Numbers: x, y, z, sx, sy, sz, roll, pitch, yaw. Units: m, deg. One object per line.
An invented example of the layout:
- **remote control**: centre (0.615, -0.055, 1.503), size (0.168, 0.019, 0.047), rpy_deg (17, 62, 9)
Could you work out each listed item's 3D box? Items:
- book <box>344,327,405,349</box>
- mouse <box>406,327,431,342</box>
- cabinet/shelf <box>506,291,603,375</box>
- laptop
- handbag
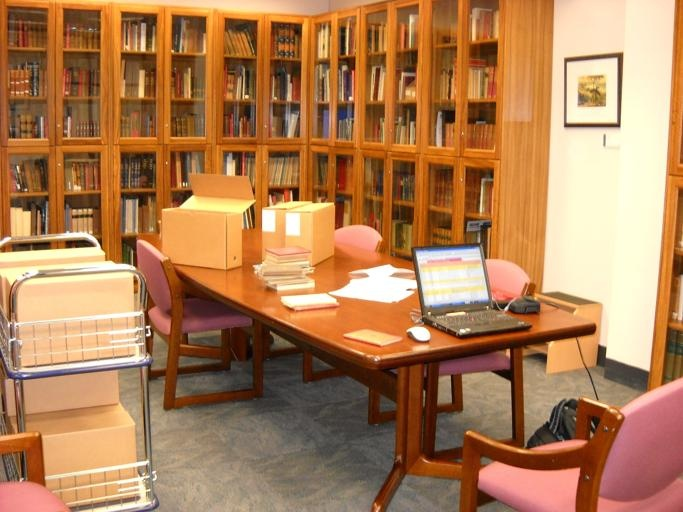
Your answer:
- **book**: centre (0.134, 0.347, 2.527), size (0.230, 0.023, 0.154), rpy_deg (8, 14, 29)
- **mouse**: centre (0.338, 0.333, 2.541), size (0.101, 0.044, 0.135), rpy_deg (3, 12, 9)
- **cabinet/shelf**: centre (1.343, 0.507, 3.643), size (0.483, 0.533, 0.601), rpy_deg (-1, 7, -23)
- **laptop**: centre (0.583, 0.148, 2.687), size (0.440, 0.349, 0.349), rpy_deg (-4, 13, -21)
- **handbag**: centre (1.148, 0.890, 3.086), size (0.402, 0.157, 0.316), rpy_deg (-24, -17, 40)
